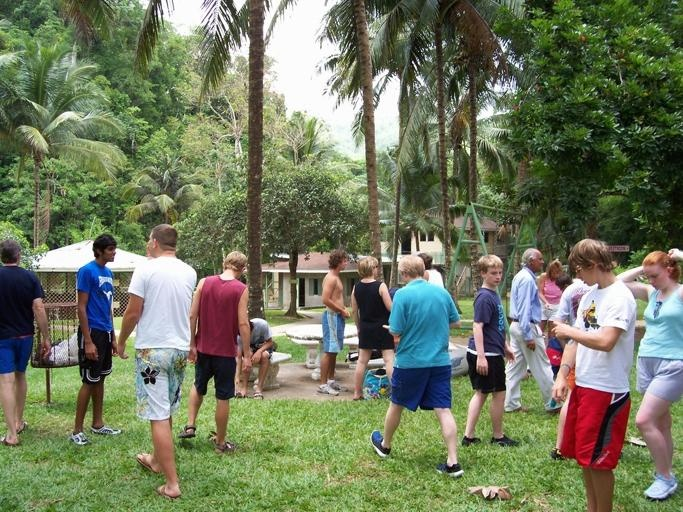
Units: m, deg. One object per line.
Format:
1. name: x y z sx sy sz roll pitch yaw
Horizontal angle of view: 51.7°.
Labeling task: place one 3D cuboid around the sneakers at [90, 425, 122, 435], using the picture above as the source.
1. sneakers: -3.508 2.582 10.437 0.440 0.202 0.175 2 -5 -5

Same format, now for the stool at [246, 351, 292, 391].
1. stool: -1.317 2.126 13.332 0.580 0.484 0.869 -2 4 -42

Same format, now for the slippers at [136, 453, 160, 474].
1. slippers: -2.589 2.759 9.471 0.371 0.169 0.169 37 -2 31

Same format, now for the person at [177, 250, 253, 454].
1. person: -1.789 1.342 10.220 0.788 2.958 0.749 7 4 8

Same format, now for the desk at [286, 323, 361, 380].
1. desk: -0.424 2.038 14.613 1.161 0.716 1.274 6 -3 21

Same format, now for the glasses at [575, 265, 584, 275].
1. glasses: 2.809 0.166 8.310 0.092 0.119 0.102 9 22 22

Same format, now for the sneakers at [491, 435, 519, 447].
1. sneakers: 2.364 2.650 10.123 0.297 0.150 0.169 -2 -4 7

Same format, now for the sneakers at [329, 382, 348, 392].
1. sneakers: -0.040 2.383 12.893 0.312 0.154 0.153 3 -4 -24

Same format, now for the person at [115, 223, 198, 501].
1. person: -2.347 1.304 9.106 0.832 3.317 1.110 -1 9 -6

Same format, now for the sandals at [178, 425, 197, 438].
1. sandals: -2.228 2.516 10.121 0.114 0.162 0.302 20 -27 -33

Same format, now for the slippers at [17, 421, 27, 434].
1. slippers: -4.816 2.565 10.574 0.051 0.068 0.160 25 29 -11

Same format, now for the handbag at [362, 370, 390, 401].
1. handbag: 0.603 2.253 12.547 0.505 0.761 0.399 2 -31 -1

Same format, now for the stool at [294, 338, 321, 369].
1. stool: -0.650 2.027 14.903 0.598 0.411 0.656 0 -7 2

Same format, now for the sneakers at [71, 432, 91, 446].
1. sneakers: -3.738 2.597 10.085 0.311 0.149 0.121 -3 -2 43

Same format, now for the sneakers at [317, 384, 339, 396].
1. sneakers: -0.241 2.398 12.697 0.378 0.181 0.160 4 -4 0

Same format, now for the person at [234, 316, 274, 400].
1. person: -1.502 1.608 11.971 0.539 1.446 0.960 2 25 2

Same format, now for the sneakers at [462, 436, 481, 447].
1. sneakers: 1.895 2.654 10.222 0.292 0.146 0.111 0 3 -35

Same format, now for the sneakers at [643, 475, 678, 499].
1. sneakers: 3.998 2.884 8.817 0.490 0.277 0.202 -3 -18 -26
